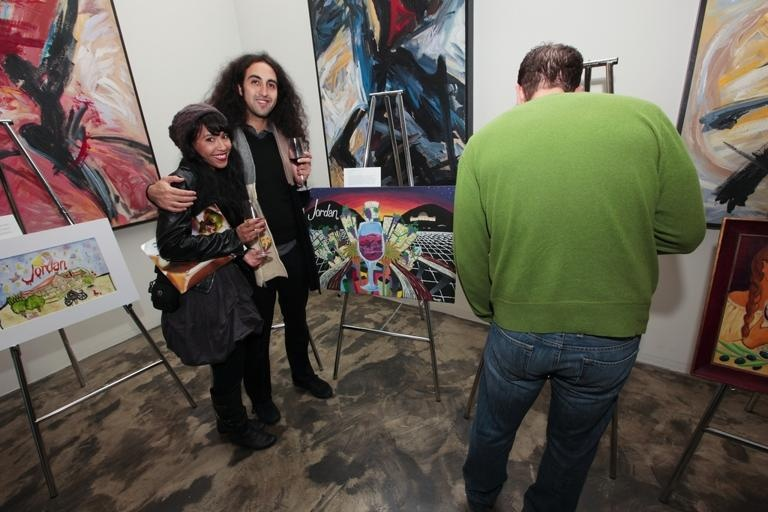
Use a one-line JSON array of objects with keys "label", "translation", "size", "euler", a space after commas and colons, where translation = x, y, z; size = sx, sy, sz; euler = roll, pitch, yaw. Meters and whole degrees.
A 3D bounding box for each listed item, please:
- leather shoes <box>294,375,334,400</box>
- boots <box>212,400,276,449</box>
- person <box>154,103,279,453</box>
[{"label": "leather shoes", "translation": [-0.481, 0.897, 3.104], "size": [0.319, 0.124, 0.130], "euler": [15, 26, 29]}, {"label": "boots", "translation": [-0.854, 1.025, 2.738], "size": [0.400, 0.284, 0.171], "euler": [4, 22, 16]}, {"label": "person", "translation": [-0.954, 0.198, 2.528], "size": [0.661, 2.035, 0.362], "euler": [-18, 21, -29]}]
